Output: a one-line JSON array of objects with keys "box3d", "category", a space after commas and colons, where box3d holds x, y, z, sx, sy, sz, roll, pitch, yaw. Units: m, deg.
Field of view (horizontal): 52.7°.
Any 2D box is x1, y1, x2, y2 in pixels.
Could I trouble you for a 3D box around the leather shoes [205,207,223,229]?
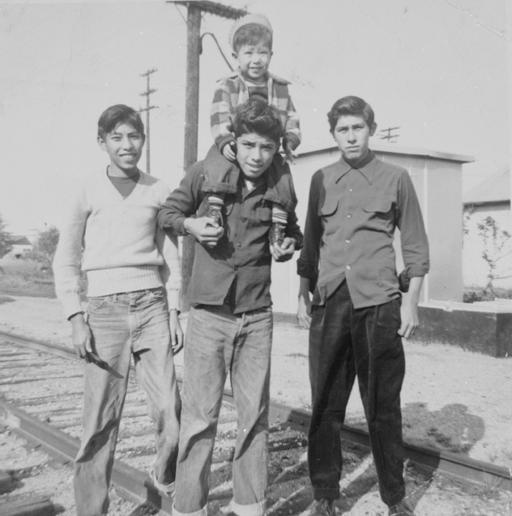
[{"box3d": [-0.197, -0.193, 2.469, 0.077, 0.099, 0.124, 1, -3, -1], "category": "leather shoes"}]
